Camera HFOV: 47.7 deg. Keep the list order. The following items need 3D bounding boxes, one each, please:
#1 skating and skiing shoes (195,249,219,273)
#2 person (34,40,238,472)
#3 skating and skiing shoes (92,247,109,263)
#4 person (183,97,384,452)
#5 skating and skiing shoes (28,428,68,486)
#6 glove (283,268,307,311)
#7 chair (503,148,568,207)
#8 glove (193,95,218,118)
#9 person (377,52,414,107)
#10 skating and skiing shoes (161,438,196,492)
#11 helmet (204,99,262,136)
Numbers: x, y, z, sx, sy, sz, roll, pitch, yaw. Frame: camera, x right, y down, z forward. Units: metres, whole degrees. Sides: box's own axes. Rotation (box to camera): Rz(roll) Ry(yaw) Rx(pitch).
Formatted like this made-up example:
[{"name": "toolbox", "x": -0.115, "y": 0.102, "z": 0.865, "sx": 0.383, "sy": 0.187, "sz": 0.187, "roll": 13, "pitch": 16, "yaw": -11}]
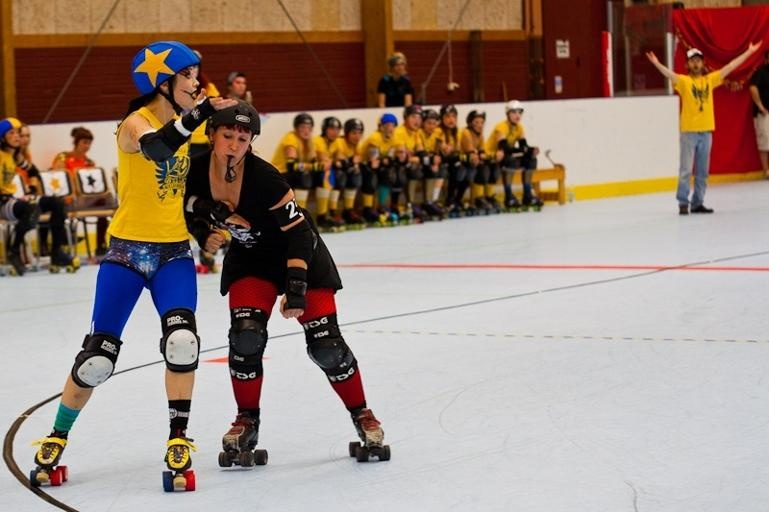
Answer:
[{"name": "skating and skiing shoes", "x": -1.775, "y": 0.064, "z": 8.691, "sx": 0.199, "sy": 0.219, "sz": 0.195, "roll": 8, "pitch": 14, "yaw": 23}, {"name": "person", "x": -1.153, "y": 0.016, "z": 4.178, "sx": 0.959, "sy": 2.051, "sz": 0.628, "roll": -7, "pitch": 11, "yaw": -23}, {"name": "skating and skiing shoes", "x": -2.852, "y": -0.003, "z": 8.746, "sx": 0.128, "sy": 0.089, "sz": 0.124, "roll": -6, "pitch": 48, "yaw": 2}, {"name": "person", "x": -0.575, "y": 0.114, "z": 4.292, "sx": 0.455, "sy": 1.641, "sz": 1.157, "roll": -5, "pitch": 7, "yaw": -28}, {"name": "skating and skiing shoes", "x": -1.612, "y": 0.985, "z": 4.199, "sx": 0.131, "sy": 0.213, "sz": 0.380, "roll": 1, "pitch": -6, "yaw": -13}, {"name": "glove", "x": -0.413, "y": 0.154, "z": 4.112, "sx": 0.129, "sy": 0.177, "sz": 0.062, "roll": 5, "pitch": -7, "yaw": -16}, {"name": "chair", "x": 2.394, "y": -1.340, "z": 15.127, "sx": 1.279, "sy": 0.939, "sz": 0.915, "roll": -4, "pitch": 3, "yaw": -31}, {"name": "glove", "x": -0.848, "y": -0.694, "z": 4.092, "sx": 0.108, "sy": 0.095, "sz": 0.074, "roll": -5, "pitch": 11, "yaw": -14}, {"name": "person", "x": 0.192, "y": -2.752, "z": 14.010, "sx": 0.516, "sy": 1.021, "sz": 0.681, "roll": 4, "pitch": -12, "yaw": -8}, {"name": "skating and skiing shoes", "x": -0.986, "y": 0.977, "z": 4.171, "sx": 0.157, "sy": 0.219, "sz": 0.330, "roll": -1, "pitch": 7, "yaw": -14}, {"name": "helmet", "x": -0.722, "y": -0.656, "z": 4.175, "sx": 0.252, "sy": 0.169, "sz": 0.159, "roll": -5, "pitch": 11, "yaw": -12}]
